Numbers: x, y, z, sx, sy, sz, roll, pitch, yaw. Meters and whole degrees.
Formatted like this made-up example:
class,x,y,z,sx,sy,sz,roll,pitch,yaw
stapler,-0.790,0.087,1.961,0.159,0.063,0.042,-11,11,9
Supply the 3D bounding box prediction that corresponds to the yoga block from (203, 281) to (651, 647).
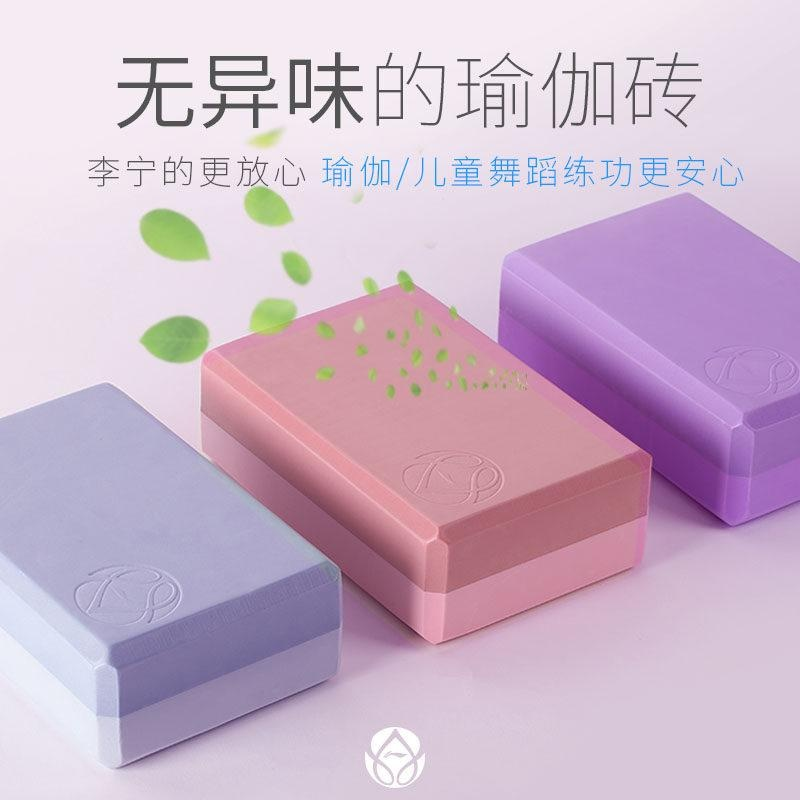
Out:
class,x,y,z,sx,sy,sz,roll,pitch,yaw
yoga block,0.013,0.040,0.832,0.265,0.117,0.355,-22,42,-37
